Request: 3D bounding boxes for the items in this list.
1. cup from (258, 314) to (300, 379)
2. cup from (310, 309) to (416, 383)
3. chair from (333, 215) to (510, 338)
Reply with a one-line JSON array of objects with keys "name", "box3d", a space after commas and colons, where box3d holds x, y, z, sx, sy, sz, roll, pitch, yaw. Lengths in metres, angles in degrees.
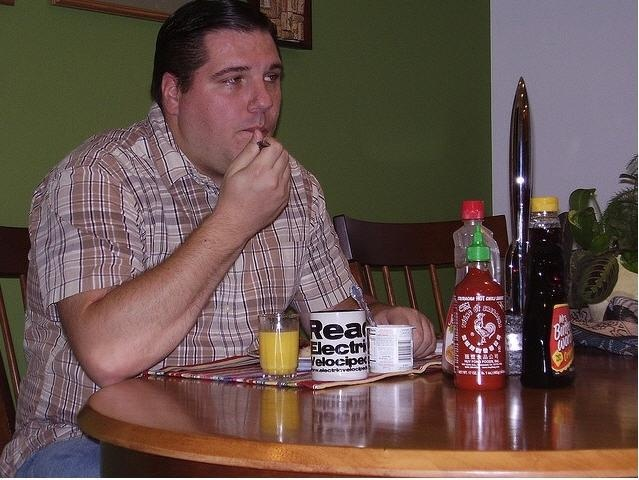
[{"name": "cup", "box3d": [-0.074, 0.195, 1.025, 0.075, 0.114, 0.071, -2, -3, 0]}, {"name": "cup", "box3d": [0.071, 0.200, 1.010, 0.184, 0.117, 0.100, 2, -7, -17]}, {"name": "chair", "box3d": [0.315, 0.073, 2.017, 0.488, 0.669, 0.455, -1, -3, -31]}]
